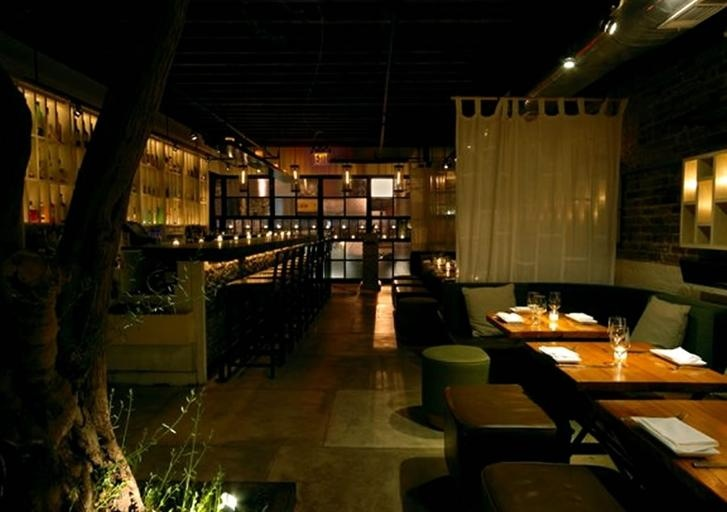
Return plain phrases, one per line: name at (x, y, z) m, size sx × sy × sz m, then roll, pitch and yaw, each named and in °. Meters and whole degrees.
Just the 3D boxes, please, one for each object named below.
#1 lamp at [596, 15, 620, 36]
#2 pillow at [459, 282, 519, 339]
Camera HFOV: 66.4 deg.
lamp at (1.976, -1.859, 4.470) m, size 0.056 × 0.139 × 0.176 m, roll -2°, pitch 29°, yaw 7°
pillow at (1.276, 0.571, 5.638) m, size 0.455 × 0.467 × 0.164 m, roll -4°, pitch -23°, yaw -9°
